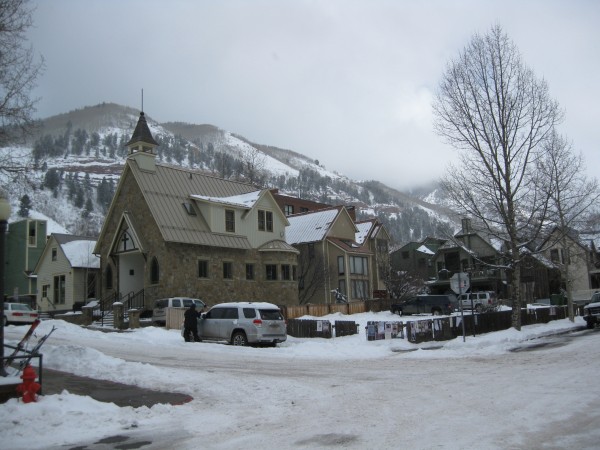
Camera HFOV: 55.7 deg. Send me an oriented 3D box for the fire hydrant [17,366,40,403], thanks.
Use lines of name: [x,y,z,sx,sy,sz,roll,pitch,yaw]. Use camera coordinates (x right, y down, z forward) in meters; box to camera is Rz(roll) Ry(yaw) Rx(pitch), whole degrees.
fire hydrant: [-7.221,4.222,15.175,0.545,0.965,0.711,8,-14,-36]

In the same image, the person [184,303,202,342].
person: [-5.302,4.629,27.855,0.668,1.958,0.574,7,25,-5]

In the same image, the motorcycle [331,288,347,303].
motorcycle: [3.576,6.421,51.219,1.235,1.455,0.835,2,-5,-23]

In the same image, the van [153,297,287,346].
van: [-2.865,4.808,28.026,4.078,2.111,2.067,1,-5,32]
